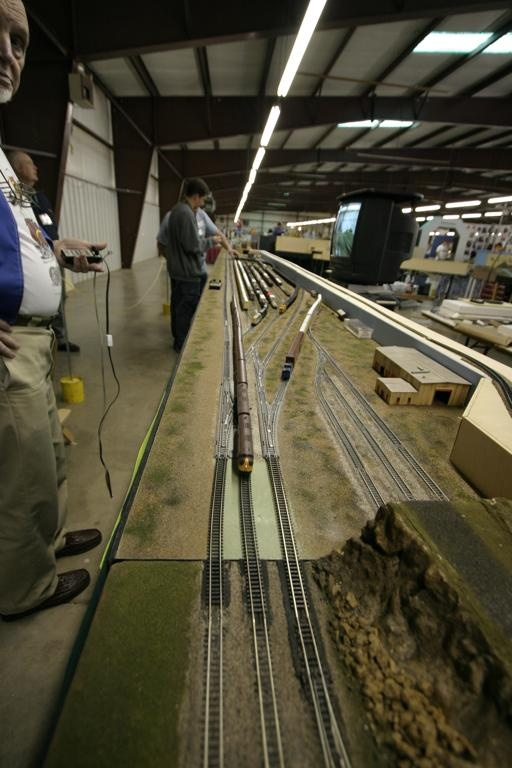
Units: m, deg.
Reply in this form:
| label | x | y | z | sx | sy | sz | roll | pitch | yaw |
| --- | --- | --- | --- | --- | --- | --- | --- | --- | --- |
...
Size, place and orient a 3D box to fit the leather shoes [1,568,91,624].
| label | x | y | z | sx | sy | sz | roll | pitch | yaw |
| --- | --- | --- | --- | --- | --- | --- | --- | --- | --- |
| leather shoes | -0.708 | 0.708 | 1.313 | 0.089 | 0.104 | 0.263 | 26 | 32 | 31 |

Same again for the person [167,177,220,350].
| label | x | y | z | sx | sy | sz | roll | pitch | yaw |
| --- | --- | --- | --- | --- | --- | --- | --- | --- | --- |
| person | -0.700 | -1.076 | 3.690 | 0.378 | 1.670 | 0.642 | 4 | 16 | -15 |

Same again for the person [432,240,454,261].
| label | x | y | z | sx | sy | sz | roll | pitch | yaw |
| --- | --- | --- | --- | --- | --- | --- | --- | --- | --- |
| person | 4.849 | -3.523 | 9.811 | 0.316 | 0.568 | 1.002 | 13 | 17 | 19 |
